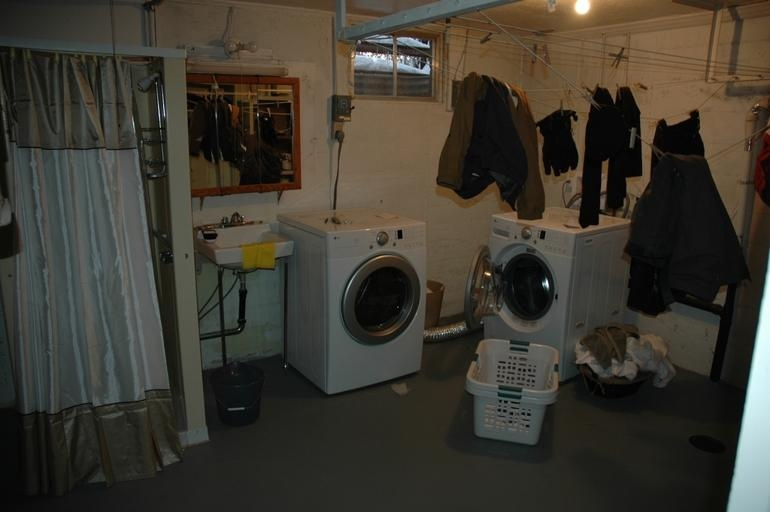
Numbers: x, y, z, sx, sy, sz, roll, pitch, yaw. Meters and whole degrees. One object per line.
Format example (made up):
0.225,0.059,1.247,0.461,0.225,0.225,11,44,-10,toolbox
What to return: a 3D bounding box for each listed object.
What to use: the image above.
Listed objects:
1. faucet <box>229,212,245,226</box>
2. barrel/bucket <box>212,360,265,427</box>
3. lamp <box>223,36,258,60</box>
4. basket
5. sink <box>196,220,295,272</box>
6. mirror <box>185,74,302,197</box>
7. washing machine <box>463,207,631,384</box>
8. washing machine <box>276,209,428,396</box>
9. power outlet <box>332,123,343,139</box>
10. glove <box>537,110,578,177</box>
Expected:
-1.184,-0.284,4.749,0.080,0.124,0.114,0,8,-28,faucet
-1.067,0.978,4.350,0.379,0.376,0.420,1,7,-1,barrel/bucket
-1.100,-1.584,4.512,0.198,0.140,0.098,-6,14,-21,lamp
0.932,0.985,4.284,0.590,0.542,0.615,4,15,17,basket
-1.091,-0.092,4.586,0.699,0.252,0.531,-8,17,-28,sink
-1.139,-0.964,4.615,0.947,0.868,0.103,-8,17,-31,mirror
1.450,0.287,5.108,1.120,1.278,1.163,0,16,-7,washing machine
-0.264,0.344,4.929,1.067,1.295,1.052,-3,11,-17,washing machine
-0.398,-1.061,5.032,0.094,0.134,0.031,2,-7,3,power outlet
1.499,-0.984,5.145,0.345,0.562,0.197,3,14,15,glove
